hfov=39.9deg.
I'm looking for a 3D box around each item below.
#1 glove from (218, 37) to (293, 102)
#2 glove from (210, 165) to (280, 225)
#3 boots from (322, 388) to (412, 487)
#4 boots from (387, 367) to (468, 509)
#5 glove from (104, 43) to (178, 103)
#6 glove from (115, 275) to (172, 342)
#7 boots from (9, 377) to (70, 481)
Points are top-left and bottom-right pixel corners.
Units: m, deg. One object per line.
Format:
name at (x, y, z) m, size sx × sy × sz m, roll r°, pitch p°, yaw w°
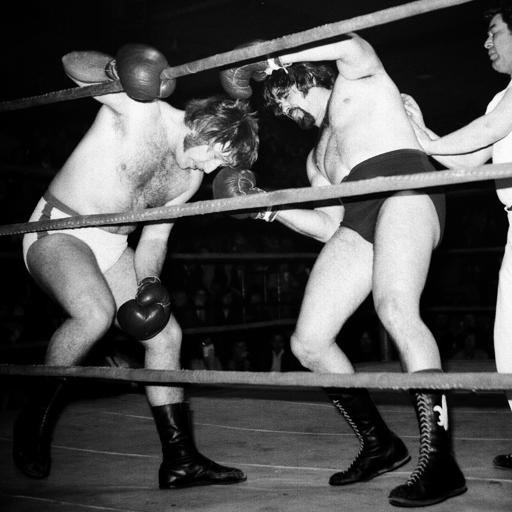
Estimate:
glove at (-0.019, -0.558, 2.157) m, size 0.129 × 0.163 × 0.054 m, roll 50°, pitch 23°, yaw -2°
glove at (-0.030, -0.213, 2.474) m, size 0.228 × 0.094 × 0.168 m, roll 28°, pitch 68°, yaw -5°
boots at (0.308, 0.541, 2.196) m, size 0.252 × 0.303 × 0.116 m, roll -14°, pitch 14°, yaw -11°
boots at (0.480, 0.516, 1.915) m, size 0.213 × 0.285 × 0.290 m, roll 5°, pitch 42°, yaw 8°
glove at (-0.336, -0.521, 2.060) m, size 0.165 × 0.139 × 0.172 m, roll 3°, pitch 42°, yaw 6°
glove at (-0.360, 0.189, 2.261) m, size 0.177 × 0.176 × 0.198 m, roll -13°, pitch 43°, yaw -12°
boots at (-0.628, 0.497, 2.095) m, size 0.134 × 0.083 × 0.284 m, roll 17°, pitch 65°, yaw 13°
